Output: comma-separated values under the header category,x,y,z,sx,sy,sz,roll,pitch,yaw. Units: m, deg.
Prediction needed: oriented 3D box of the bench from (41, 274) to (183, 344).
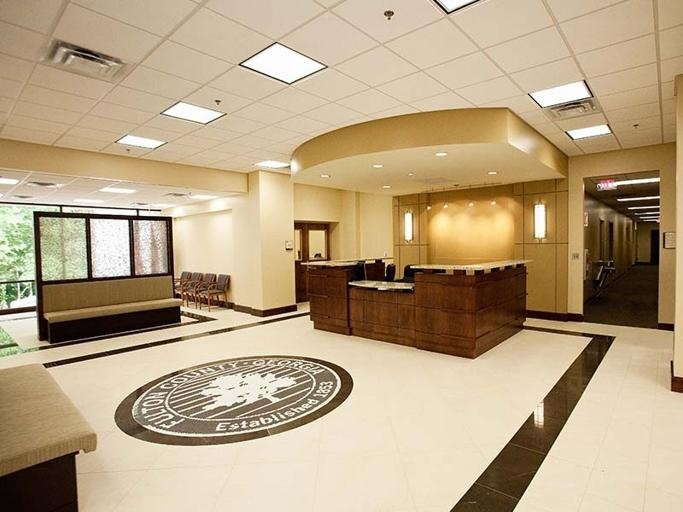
category,x,y,z,sx,sy,sz,roll,pitch,yaw
bench,-4.873,1.106,9.470,2.553,1.140,0.744,-5,8,-38

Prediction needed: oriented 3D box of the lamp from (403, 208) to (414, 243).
category,x,y,z,sx,sy,sz,roll,pitch,yaw
lamp,1.799,-0.796,11.763,0.278,0.851,0.320,2,12,18

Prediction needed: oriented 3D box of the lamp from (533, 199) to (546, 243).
category,x,y,z,sx,sy,sz,roll,pitch,yaw
lamp,4.380,-0.766,9.647,0.226,0.812,0.253,0,12,9

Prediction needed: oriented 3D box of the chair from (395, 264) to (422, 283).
category,x,y,z,sx,sy,sz,roll,pitch,yaw
chair,1.442,0.398,9.592,0.436,0.450,0.349,4,-6,-36
